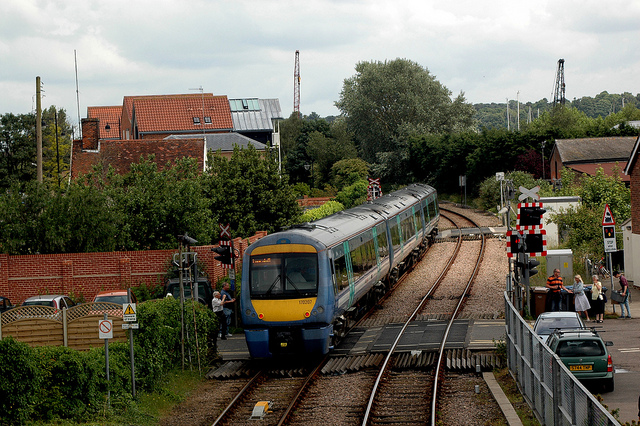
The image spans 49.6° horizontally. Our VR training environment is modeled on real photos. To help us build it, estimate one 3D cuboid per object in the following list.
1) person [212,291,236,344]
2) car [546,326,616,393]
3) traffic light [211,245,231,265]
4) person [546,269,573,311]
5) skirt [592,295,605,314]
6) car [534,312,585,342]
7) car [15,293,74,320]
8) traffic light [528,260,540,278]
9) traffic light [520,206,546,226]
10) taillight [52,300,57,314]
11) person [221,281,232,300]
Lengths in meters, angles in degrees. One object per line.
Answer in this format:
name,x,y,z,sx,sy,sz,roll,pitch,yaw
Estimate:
person,-3.912,4.038,26.903,0.610,2.084,0.856,0,7,19
car,8.046,4.505,21.540,2.020,1.856,3.716,-3,-5,17
traffic light,-3.859,1.604,26.933,0.620,0.734,1.464,-3,7,-8
person,9.628,3.106,28.099,0.882,1.704,0.625,-4,7,-15
skirt,11.444,3.781,28.513,0.453,0.901,0.821,0,7,21
car,7.779,3.657,22.274,0.870,0.735,2.082,9,-13,-22
car,-9.992,3.391,25.110,0.960,0.831,1.713,0,5,4
traffic light,7.539,1.967,24.567,0.287,0.542,0.832,0,7,23
traffic light,7.387,0.102,24.308,0.769,0.653,0.399,-1,7,13
taillight,-10.673,3.650,27.563,0.208,0.355,0.097,-1,-1,18
person,-3.848,3.134,27.936,0.356,1.100,0.512,-8,23,-8
